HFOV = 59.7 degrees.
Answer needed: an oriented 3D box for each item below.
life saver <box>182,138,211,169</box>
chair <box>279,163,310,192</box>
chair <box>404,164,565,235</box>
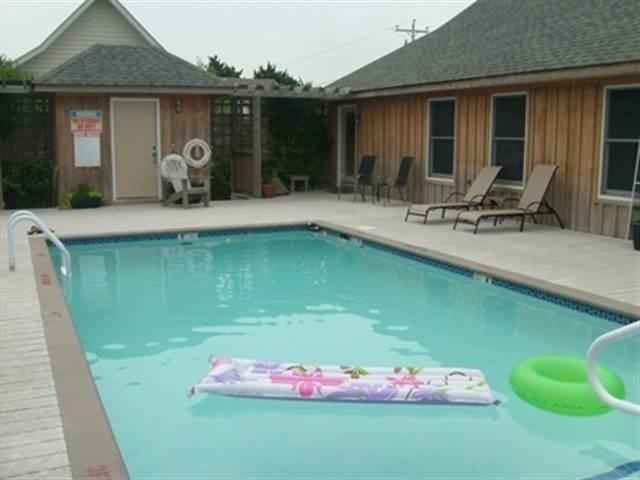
[{"bbox_3d":[-3.104,-2.131,13.976,0.686,0.756,0.393,-4,15,-15],"label":"life saver"},{"bbox_3d":[-0.777,-1.832,16.704,0.980,0.785,0.436,-3,15,-11],"label":"chair"},{"bbox_3d":[3.028,-0.804,10.360,2.165,1.188,2.123,-7,16,-25],"label":"chair"}]
